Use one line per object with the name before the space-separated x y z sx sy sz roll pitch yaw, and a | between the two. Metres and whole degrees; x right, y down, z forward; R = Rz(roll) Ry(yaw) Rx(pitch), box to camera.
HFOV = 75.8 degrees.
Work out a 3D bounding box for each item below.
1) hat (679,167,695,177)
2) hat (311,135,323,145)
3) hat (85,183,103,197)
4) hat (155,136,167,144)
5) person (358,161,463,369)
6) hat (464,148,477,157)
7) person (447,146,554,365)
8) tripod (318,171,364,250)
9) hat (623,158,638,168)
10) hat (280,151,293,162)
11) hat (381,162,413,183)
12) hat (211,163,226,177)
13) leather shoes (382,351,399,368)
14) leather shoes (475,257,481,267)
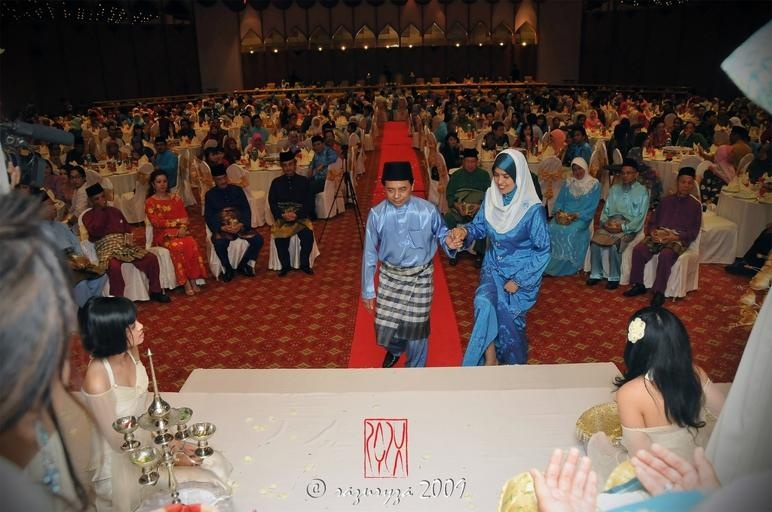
hat | 3.003 -0.834 4.956 0.108 0.082 0.112 0 3 2
hat | -1.040 -1.817 7.697 0.121 0.119 0.235 12 25 30
hat | -2.876 -0.646 4.902 0.140 0.117 0.143 -2 18 -5
hat | -3.426 -1.753 7.558 0.137 0.094 0.141 1 6 34
person | 0.147 0.142 3.611 0.653 1.648 0.444 2 21 7
hat | 1.046 -1.274 6.111 0.134 0.107 0.138 3 17 3
person | 0.828 0.153 3.565 0.697 1.748 0.676 2 22 8
tripod | -0.678 -0.727 7.599 0.763 1.245 0.855 0 -1 -12
hat | 2.594 -0.997 5.263 0.123 0.121 0.126 12 25 26
hat | -1.250 -1.238 6.160 0.179 0.134 0.178 -12 17 -35
hat | 0.082 -0.577 3.436 0.205 0.182 0.202 -2 22 -3
hat | -1.975 -1.003 5.865 0.167 0.165 0.173 4 0 30
leather shoes | 0.039 0.794 3.848 0.072 0.089 0.200 21 12 6
leather shoes | 1.126 0.079 6.007 0.044 0.144 0.100 -2 -5 12
